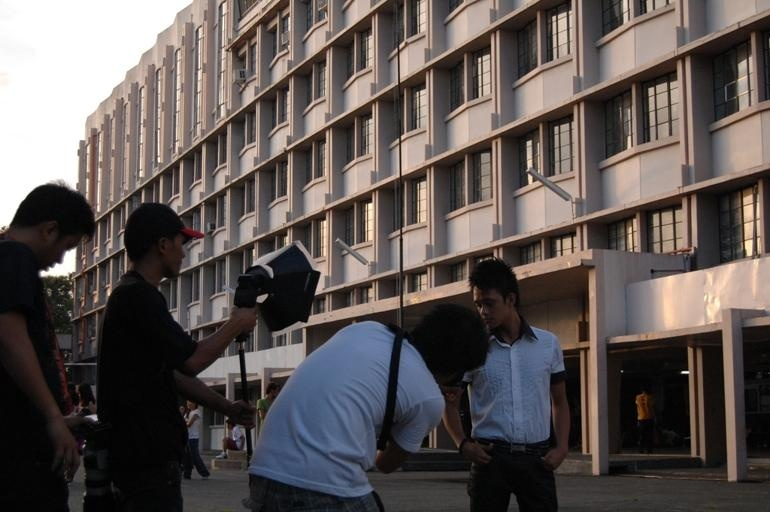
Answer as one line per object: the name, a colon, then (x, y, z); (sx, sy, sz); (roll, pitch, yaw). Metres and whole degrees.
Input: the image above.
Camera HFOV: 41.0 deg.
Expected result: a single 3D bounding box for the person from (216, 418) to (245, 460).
person: (-4.488, 5.404, 30.060); (0.815, 1.218, 0.628); (3, -21, -8)
